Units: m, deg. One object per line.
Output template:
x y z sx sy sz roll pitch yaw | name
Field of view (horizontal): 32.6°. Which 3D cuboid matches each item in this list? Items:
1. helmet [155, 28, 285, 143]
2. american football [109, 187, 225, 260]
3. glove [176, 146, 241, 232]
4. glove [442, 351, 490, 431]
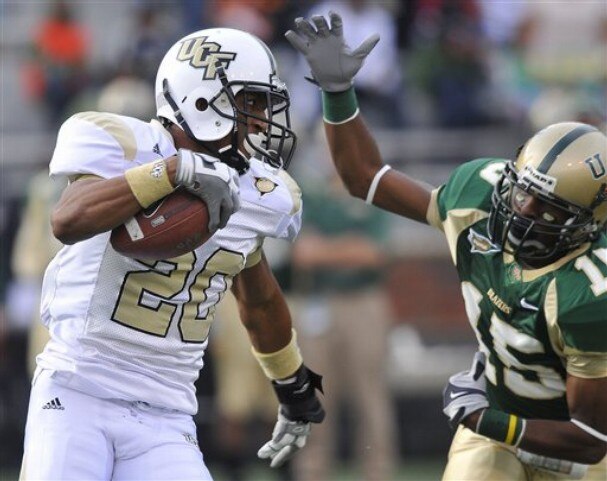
-0.325 -0.664 4.515 0.553 0.446 0.424 0 -2 3 | helmet
-0.555 -0.051 4.156 0.344 0.209 0.250 -26 14 1 | american football
-0.382 -0.191 4.083 0.242 0.310 0.125 13 2 29 | glove
0.702 0.655 4.509 0.129 0.227 0.285 17 46 -2 | glove
